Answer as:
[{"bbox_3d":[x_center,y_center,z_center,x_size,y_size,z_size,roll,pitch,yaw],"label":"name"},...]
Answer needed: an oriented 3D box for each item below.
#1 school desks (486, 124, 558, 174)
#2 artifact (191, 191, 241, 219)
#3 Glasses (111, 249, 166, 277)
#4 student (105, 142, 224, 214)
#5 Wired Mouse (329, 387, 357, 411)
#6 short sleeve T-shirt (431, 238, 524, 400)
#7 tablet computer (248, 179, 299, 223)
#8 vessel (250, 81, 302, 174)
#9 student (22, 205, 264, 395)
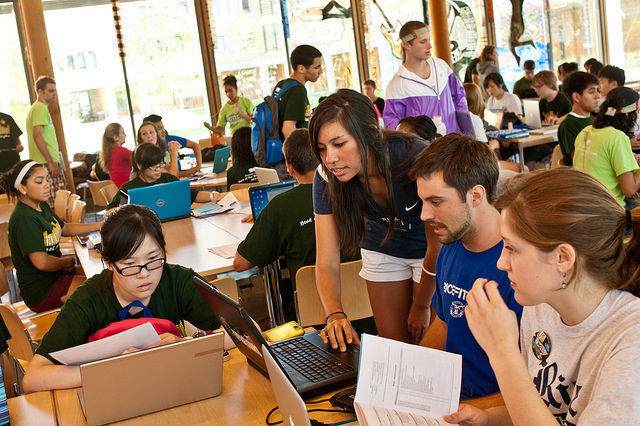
[{"bbox_3d":[2.549,-0.908,5.771,0.883,0.590,0.527,-14,19,-35],"label":"school desks"},{"bbox_3d":[-0.936,-0.051,4.237,0.302,0.105,0.221,-13,21,-29],"label":"artifact"},{"bbox_3d":[-0.735,0.221,1.936,0.214,0.064,0.108,-11,11,-34],"label":"Glasses"},{"bbox_3d":[-1.598,-0.360,4.732,0.831,0.853,0.252,-23,14,-21],"label":"student"},{"bbox_3d":[0.080,0.612,1.531,0.078,0.023,0.078,-4,16,-8],"label":"Wired Mouse"},{"bbox_3d":[0.588,0.419,1.804,0.220,0.604,0.444,-7,14,-26],"label":"short sleeve T-shirt"},{"bbox_3d":[-0.357,-0.115,3.395,0.371,0.231,0.269,-10,9,-23],"label":"tablet computer"},{"bbox_3d":[-0.499,-0.945,4.782,0.441,0.840,0.509,-11,27,-26],"label":"vessel"},{"bbox_3d":[-0.817,0.250,2.125,1.131,0.924,0.642,-8,14,-35],"label":"student"}]
